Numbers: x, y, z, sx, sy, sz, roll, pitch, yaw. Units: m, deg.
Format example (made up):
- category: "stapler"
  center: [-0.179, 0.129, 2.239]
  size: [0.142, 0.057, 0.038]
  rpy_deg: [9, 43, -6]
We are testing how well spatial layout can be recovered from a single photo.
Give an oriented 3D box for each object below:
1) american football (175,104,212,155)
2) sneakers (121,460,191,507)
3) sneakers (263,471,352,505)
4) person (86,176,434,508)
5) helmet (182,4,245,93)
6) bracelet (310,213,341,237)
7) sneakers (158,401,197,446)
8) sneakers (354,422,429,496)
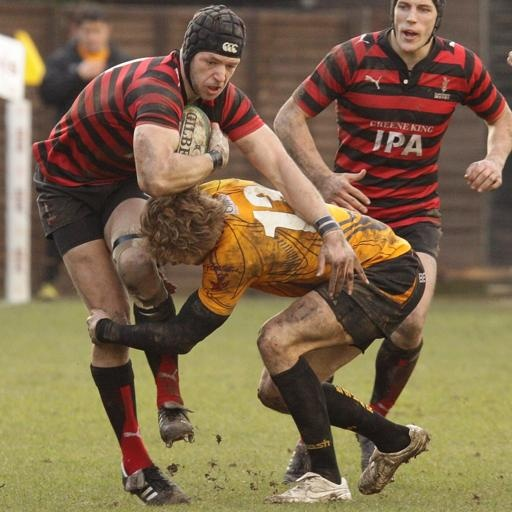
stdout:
- category: "american football"
  center: [-0.226, -0.454, 3.112]
  size: [0.115, 0.174, 0.184]
  rpy_deg: [-1, 13, 0]
- category: "sneakers"
  center: [-0.386, 0.850, 3.172]
  size: [0.292, 0.101, 0.095]
  rpy_deg: [20, 35, 21]
- category: "sneakers"
  center: [0.206, 0.857, 3.120]
  size: [0.350, 0.101, 0.105]
  rpy_deg: [2, -12, -8]
- category: "person"
  center: [0.061, 0.338, 3.200]
  size: [1.213, 1.222, 0.584]
  rpy_deg: [0, 14, 2]
- category: "helmet"
  center: [-0.163, -0.757, 3.111]
  size: [0.235, 0.305, 0.217]
  rpy_deg: [-1, 14, -3]
- category: "bracelet"
  center: [0.249, -0.108, 3.093]
  size: [0.092, 0.069, 0.083]
  rpy_deg: [-12, 42, -18]
- category: "sneakers"
  center: [-0.311, 0.629, 3.279]
  size: [0.146, 0.102, 0.222]
  rpy_deg: [-11, 30, -4]
- category: "sneakers"
  center: [0.529, 0.812, 3.367]
  size: [0.151, 0.287, 0.109]
  rpy_deg: [39, 3, -38]
